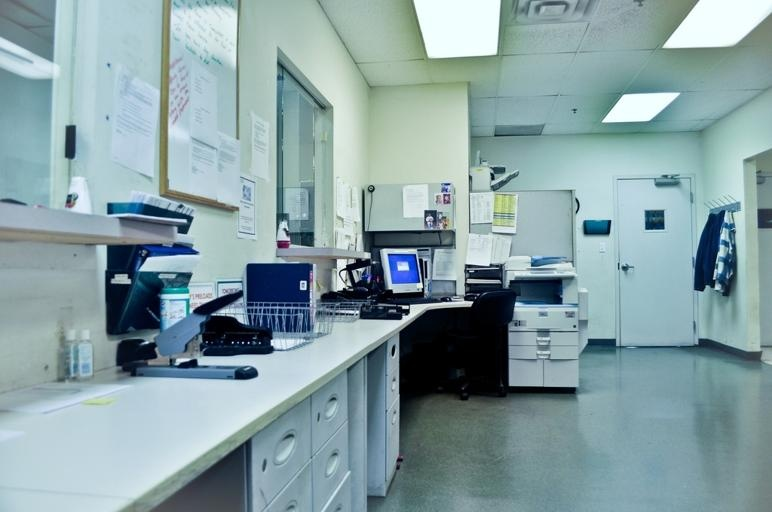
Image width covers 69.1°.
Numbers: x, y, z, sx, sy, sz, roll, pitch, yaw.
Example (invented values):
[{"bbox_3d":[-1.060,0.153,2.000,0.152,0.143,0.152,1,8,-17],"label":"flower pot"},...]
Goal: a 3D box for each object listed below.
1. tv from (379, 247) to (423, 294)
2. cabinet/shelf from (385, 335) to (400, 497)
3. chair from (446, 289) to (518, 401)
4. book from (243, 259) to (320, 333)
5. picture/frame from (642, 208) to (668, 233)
[{"bbox_3d":[0.133,0.123,4.556,0.188,0.372,0.603,-1,-2,21],"label":"tv"},{"bbox_3d":[0.071,0.832,3.112,0.117,0.646,0.159,1,-1,3],"label":"cabinet/shelf"},{"bbox_3d":[0.803,0.726,4.761,0.485,0.884,0.591,-1,0,-32],"label":"chair"},{"bbox_3d":[-0.499,0.198,2.931,0.440,0.419,0.323,-1,-2,11],"label":"book"},{"bbox_3d":[3.389,-0.449,7.071,0.319,0.307,0.035,1,-6,3],"label":"picture/frame"}]
